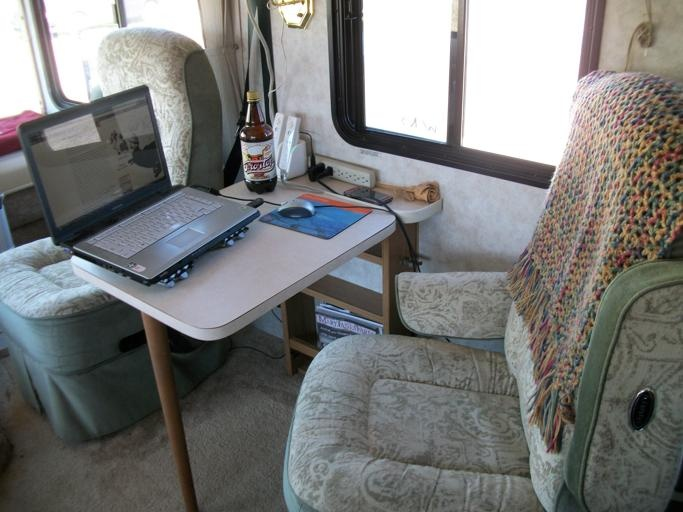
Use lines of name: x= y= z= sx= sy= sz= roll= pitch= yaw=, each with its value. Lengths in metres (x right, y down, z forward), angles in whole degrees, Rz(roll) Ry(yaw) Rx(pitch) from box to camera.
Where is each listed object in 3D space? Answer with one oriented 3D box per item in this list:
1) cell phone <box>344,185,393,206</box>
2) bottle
cell phone: x=0.094 y=-0.232 z=2.138 sx=0.151 sy=0.041 sz=0.084 roll=22 pitch=35 yaw=30
bottle: x=-0.282 y=-0.409 z=2.096 sx=0.137 sy=0.363 sz=0.163 roll=-1 pitch=30 yaw=-4
